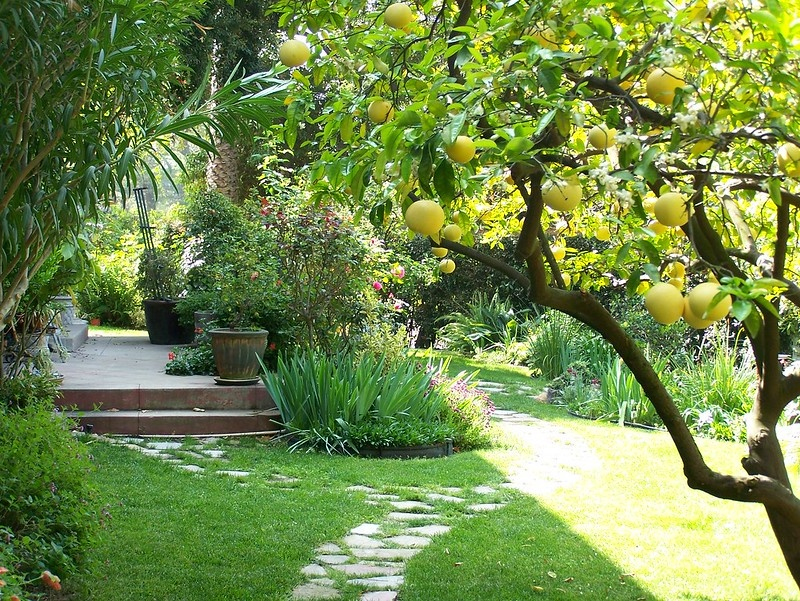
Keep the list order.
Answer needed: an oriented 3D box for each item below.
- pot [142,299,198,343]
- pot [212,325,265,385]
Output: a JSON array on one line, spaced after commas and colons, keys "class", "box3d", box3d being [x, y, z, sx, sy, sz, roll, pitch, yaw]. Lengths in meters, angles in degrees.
[{"class": "pot", "box3d": [-3.398, 0.327, 10.162, 0.636, 0.553, 0.680, 0, 0, 0]}, {"class": "pot", "box3d": [-1.470, 0.511, 6.419, 0.471, 0.448, 0.483, 1, -5, 0]}]
